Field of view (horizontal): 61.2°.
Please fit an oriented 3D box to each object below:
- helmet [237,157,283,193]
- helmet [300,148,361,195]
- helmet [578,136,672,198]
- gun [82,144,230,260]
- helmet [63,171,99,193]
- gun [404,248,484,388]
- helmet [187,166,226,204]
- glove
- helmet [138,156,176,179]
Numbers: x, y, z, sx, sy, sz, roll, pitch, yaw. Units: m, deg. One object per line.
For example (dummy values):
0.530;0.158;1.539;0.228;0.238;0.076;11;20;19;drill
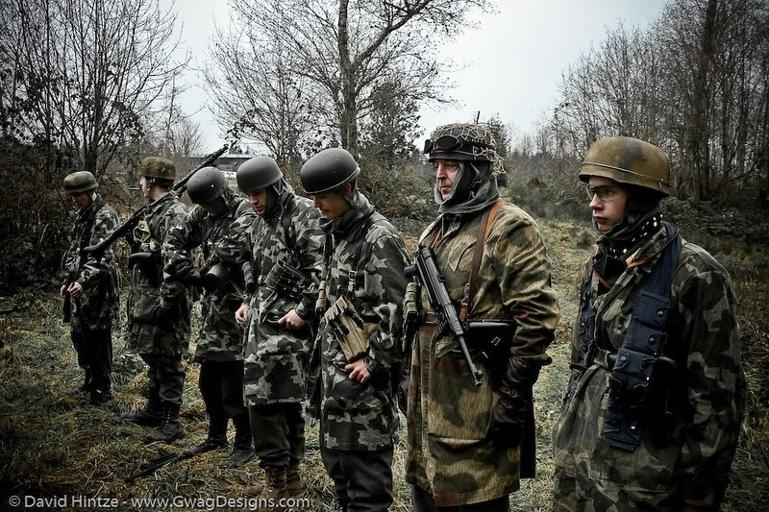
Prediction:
-1.432;-0.941;7.406;0.402;0.281;0.455;6;29;41;helmet
-0.544;-0.894;6.643;0.510;0.308;0.443;-32;27;-17;helmet
2.144;-0.811;5.781;0.624;0.377;0.562;1;7;-4;helmet
-3.696;-0.817;10.195;0.329;3.045;0.784;43;-8;15;gun
-4.428;-1.070;9.489;0.335;0.203;0.358;0;11;16;helmet
0.589;0.581;6.038;0.190;1.476;0.566;1;-35;-33;gun
-2.247;-0.930;8.267;0.401;0.483;0.288;-13;-52;24;helmet
1.148;1.340;5.861;0.220;0.699;0.501;13;-8;3;glove
-3.147;-1.210;9.113;0.370;0.219;0.358;-5;7;-28;helmet
